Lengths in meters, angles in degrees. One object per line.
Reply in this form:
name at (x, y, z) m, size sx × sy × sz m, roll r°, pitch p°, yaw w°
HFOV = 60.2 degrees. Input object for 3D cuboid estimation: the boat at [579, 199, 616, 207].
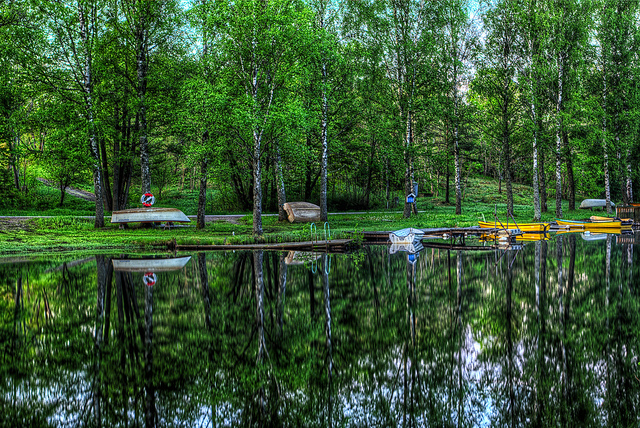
boat at (31.351, -1.230, 62.239) m, size 2.197 × 0.704 × 1.616 m, roll -2°, pitch 3°, yaw -3°

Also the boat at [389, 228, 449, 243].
boat at (6.303, 1.638, 41.502) m, size 3.029 × 0.919 × 1.937 m, roll -5°, pitch -6°, yaw 41°

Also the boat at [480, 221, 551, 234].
boat at (17.587, 1.159, 47.295) m, size 10.524 × 1.063 × 4.237 m, roll 1°, pitch -3°, yaw -38°
